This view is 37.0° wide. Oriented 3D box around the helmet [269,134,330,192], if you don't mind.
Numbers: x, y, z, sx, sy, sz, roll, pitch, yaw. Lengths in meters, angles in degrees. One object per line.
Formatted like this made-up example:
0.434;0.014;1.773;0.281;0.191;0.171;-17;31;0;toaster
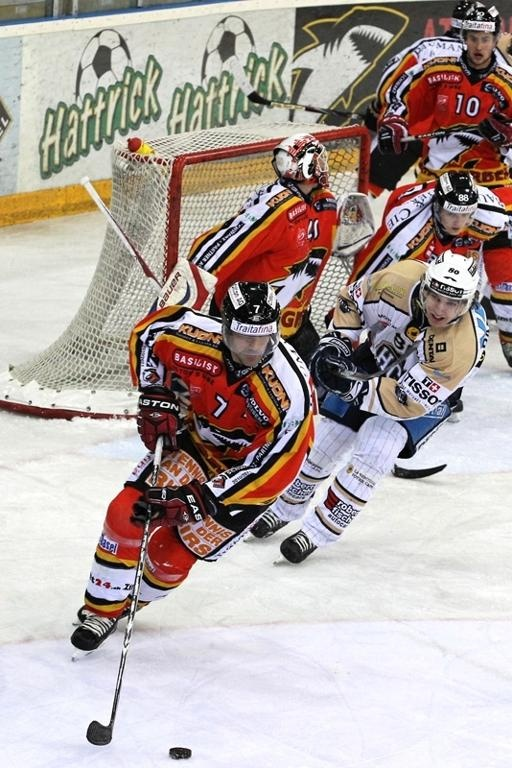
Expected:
0.182;-0.873;3.055;0.231;0.208;0.173;-15;25;-28;helmet

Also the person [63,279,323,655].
-0.151;0.195;1.867;0.489;0.936;0.553;21;22;-1;person

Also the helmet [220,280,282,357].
-0.016;-0.139;1.719;0.139;0.158;0.165;-3;34;-16;helmet

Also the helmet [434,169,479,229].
0.797;-0.741;3.084;0.181;0.204;0.212;-4;45;-6;helmet

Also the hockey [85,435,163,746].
-0.268;0.419;1.663;0.063;0.686;0.034;12;-25;-6;hockey

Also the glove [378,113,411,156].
0.734;-1.338;4.117;0.181;0.209;0.111;-1;-11;12;glove

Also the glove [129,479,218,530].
-0.173;0.263;1.659;0.166;0.051;0.090;-5;29;-3;glove
